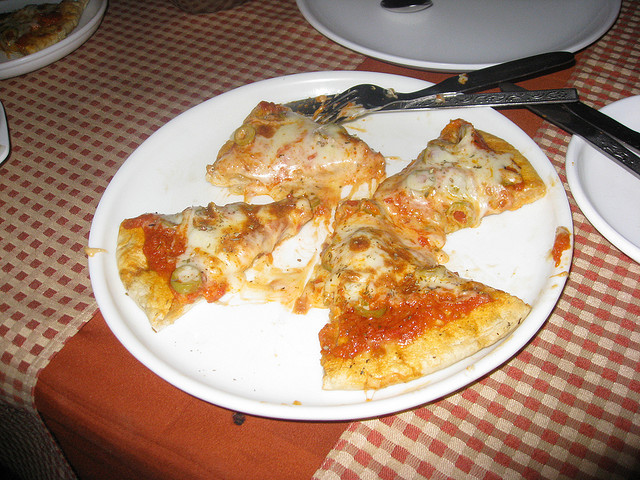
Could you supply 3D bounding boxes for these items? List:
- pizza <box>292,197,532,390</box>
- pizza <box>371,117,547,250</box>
[{"bbox_3d":[0.193,0.249,2.005,0.733,0.286,0.760,-40,77,-12],"label":"pizza"},{"bbox_3d":[0.612,-0.190,2.295,0.671,0.172,0.565,-33,65,-1],"label":"pizza"}]
